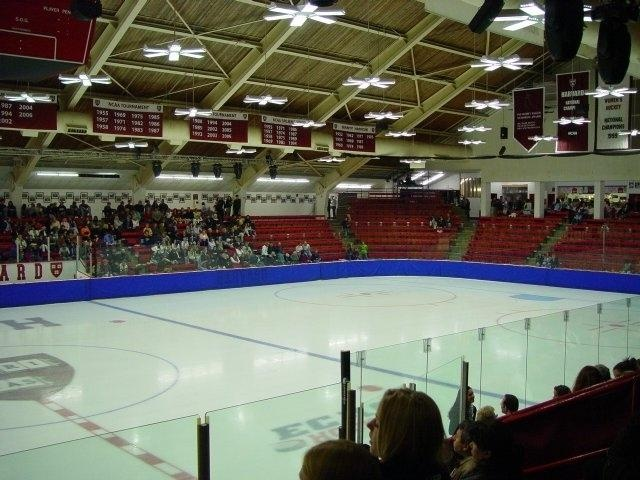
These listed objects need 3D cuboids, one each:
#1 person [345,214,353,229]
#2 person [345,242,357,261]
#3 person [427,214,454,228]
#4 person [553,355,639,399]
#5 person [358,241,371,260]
[{"bbox_3d":[2.056,-1.363,36.822,0.816,0.852,0.833,-2,9,-8],"label":"person"},{"bbox_3d":[1.937,0.780,32.641,0.847,1.512,0.834,5,-7,-14],"label":"person"},{"bbox_3d":[8.528,-1.235,36.279,1.239,1.136,0.295,1,-48,14],"label":"person"},{"bbox_3d":[3.742,1.870,7.028,1.043,0.373,0.300,-6,8,-28],"label":"person"},{"bbox_3d":[2.762,0.695,32.740,0.886,1.367,0.848,-2,5,32],"label":"person"}]
